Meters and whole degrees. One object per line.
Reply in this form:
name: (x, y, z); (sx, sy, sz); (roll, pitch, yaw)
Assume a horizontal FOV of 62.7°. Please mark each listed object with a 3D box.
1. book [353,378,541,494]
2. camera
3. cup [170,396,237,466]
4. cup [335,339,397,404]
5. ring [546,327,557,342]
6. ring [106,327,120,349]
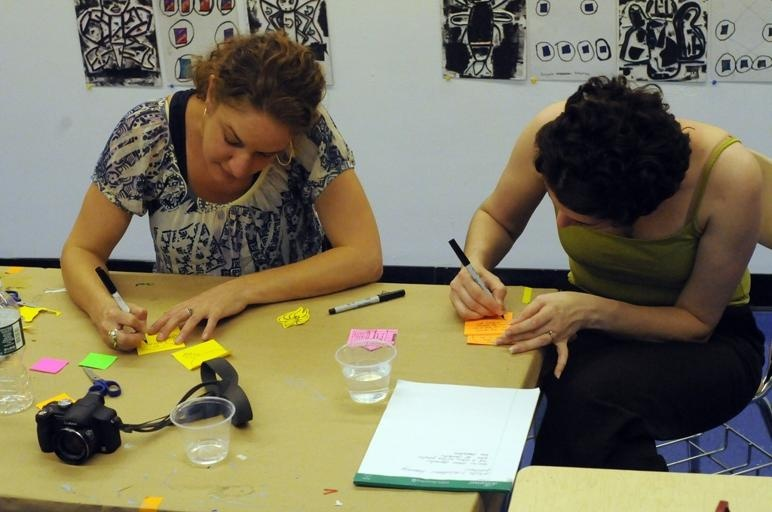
book: (0.153, 0.409, 1.448); (0.346, 0.089, 0.370); (5, 19, 18)
camera: (-0.683, 0.390, 1.430); (0.161, 0.109, 0.136); (7, 32, 6)
cup: (-0.402, 0.398, 1.440); (0.136, 0.102, 0.135); (1, 22, 0)
cup: (-0.051, 0.307, 1.600); (0.133, 0.102, 0.136); (-2, 26, 1)
ring: (0.452, 0.214, 1.717); (0.027, 0.036, 0.013); (-15, 5, -29)
ring: (-0.728, 0.221, 1.693); (0.036, 0.043, 0.048); (6, -10, -10)
